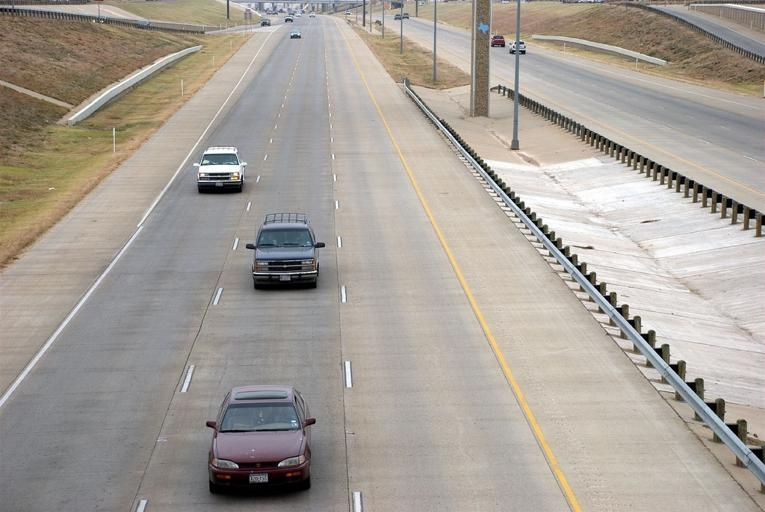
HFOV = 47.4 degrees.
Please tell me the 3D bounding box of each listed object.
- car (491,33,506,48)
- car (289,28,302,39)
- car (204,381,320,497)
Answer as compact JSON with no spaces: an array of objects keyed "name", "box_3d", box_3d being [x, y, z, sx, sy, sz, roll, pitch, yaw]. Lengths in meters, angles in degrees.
[{"name":"car","box_3d":[16.914,-31.715,128.611,2.192,1.363,3.425,0,11,2]},{"name":"car","box_3d":[-14.385,-37.154,144.941,2.577,1.328,4.857,-2,12,-6]},{"name":"car","box_3d":[-2.659,3.599,20.011,2.423,1.266,4.039,-2,23,-4]}]
